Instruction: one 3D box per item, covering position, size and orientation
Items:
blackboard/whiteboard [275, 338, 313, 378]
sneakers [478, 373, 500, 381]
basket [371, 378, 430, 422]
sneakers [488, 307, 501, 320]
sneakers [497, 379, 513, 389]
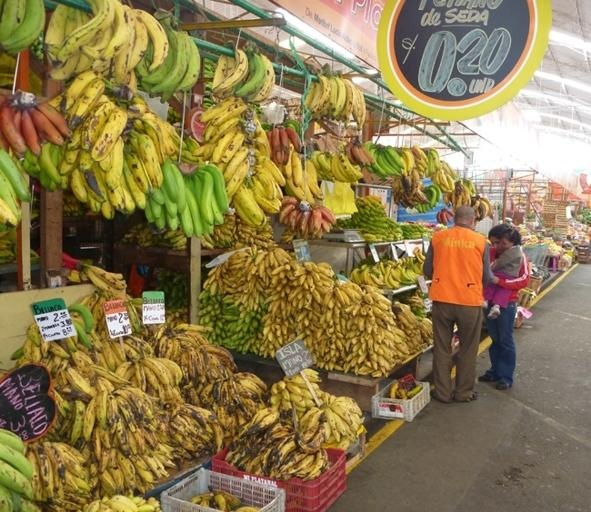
[{"bbox_3d":[-0.003,0.767,3.427,0.265,0.270,0.061,-23,5,-41],"label":"blackboard/whiteboard"},{"bbox_3d":[2.394,1.493,5.678,0.231,0.112,0.092,2,0,0],"label":"sneakers"},{"bbox_3d":[1.046,1.440,4.547,0.308,0.181,0.554,2,10,26],"label":"basket"},{"bbox_3d":[2.394,0.687,5.504,0.070,0.148,0.140,0,34,-36],"label":"sneakers"},{"bbox_3d":[2.467,1.498,5.396,0.198,0.101,0.078,2,3,-39],"label":"sneakers"}]
